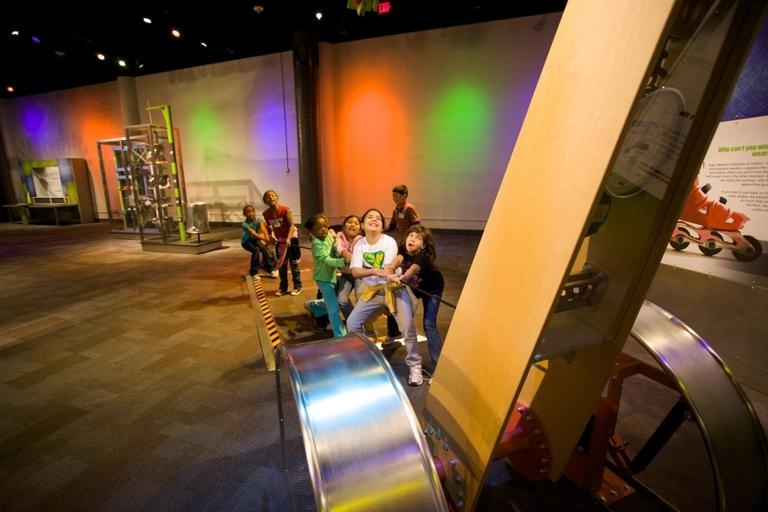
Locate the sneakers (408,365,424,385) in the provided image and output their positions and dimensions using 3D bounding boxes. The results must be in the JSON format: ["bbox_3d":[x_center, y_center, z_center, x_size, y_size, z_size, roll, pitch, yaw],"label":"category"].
[{"bbox_3d":[0.327,1.217,4.444,0.112,0.169,0.235,1,14,14],"label":"sneakers"}]

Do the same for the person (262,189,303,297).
[{"bbox_3d":[-1.686,-0.281,7.260,0.580,1.635,1.452,-4,16,-14],"label":"person"}]

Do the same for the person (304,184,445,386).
[{"bbox_3d":[0.025,0.388,4.574,0.883,1.717,0.671,3,16,12],"label":"person"}]

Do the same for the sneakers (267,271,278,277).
[{"bbox_3d":[-1.979,0.317,7.838,0.116,0.056,0.155,-2,10,-13],"label":"sneakers"}]
